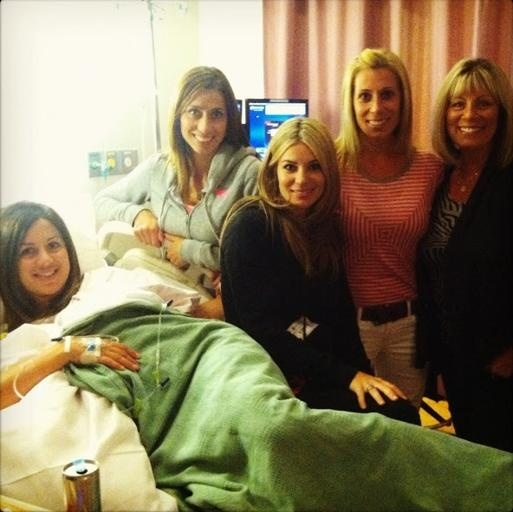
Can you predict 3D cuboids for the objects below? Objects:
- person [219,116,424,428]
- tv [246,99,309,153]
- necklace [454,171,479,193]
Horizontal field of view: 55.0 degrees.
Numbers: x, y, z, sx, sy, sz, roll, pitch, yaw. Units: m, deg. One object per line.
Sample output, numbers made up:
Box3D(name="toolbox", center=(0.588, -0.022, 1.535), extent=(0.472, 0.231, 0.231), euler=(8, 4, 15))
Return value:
Box3D(name="person", center=(0.164, 0.028, 1.285), extent=(0.509, 0.758, 0.252), euler=(1, 16, 18))
Box3D(name="tv", center=(0.060, -0.362, 1.338), extent=(0.191, 0.191, 0.019), euler=(-1, 11, -2))
Box3D(name="necklace", center=(0.561, -0.203, 1.319), extent=(0.021, 0.067, 0.047), euler=(-11, 30, -33))
